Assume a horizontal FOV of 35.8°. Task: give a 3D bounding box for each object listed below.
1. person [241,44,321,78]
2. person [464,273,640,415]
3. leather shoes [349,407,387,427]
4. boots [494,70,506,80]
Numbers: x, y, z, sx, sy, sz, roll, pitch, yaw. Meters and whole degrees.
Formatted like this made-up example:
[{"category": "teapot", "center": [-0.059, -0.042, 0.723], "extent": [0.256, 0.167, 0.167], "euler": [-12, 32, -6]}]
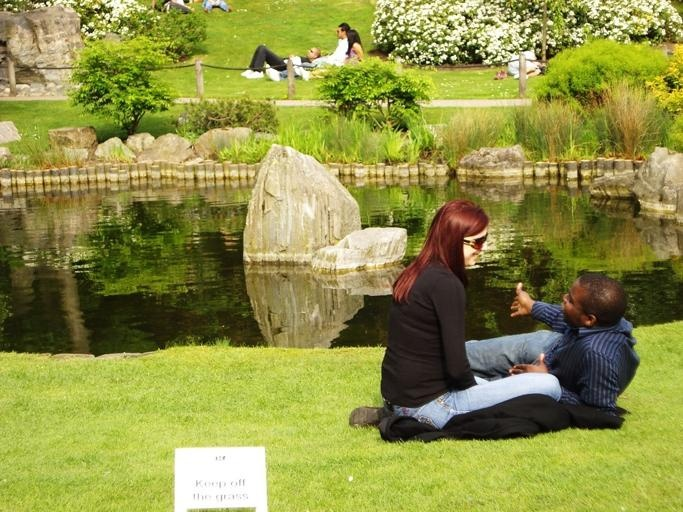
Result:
[{"category": "person", "center": [-2.013, -6.301, 35.395], "extent": [2.563, 1.109, 1.231], "euler": [-2, 28, -5]}, {"category": "person", "center": [2.529, 0.845, 11.970], "extent": [2.085, 1.203, 1.198], "euler": [10, 45, 9]}, {"category": "leather shoes", "center": [0.310, 1.800, 11.896], "extent": [0.397, 0.167, 0.199], "euler": [-2, 35, -3]}, {"category": "boots", "center": [5.201, -5.862, 34.417], "extent": [0.341, 0.216, 0.473], "euler": [0, 20, 18]}]
